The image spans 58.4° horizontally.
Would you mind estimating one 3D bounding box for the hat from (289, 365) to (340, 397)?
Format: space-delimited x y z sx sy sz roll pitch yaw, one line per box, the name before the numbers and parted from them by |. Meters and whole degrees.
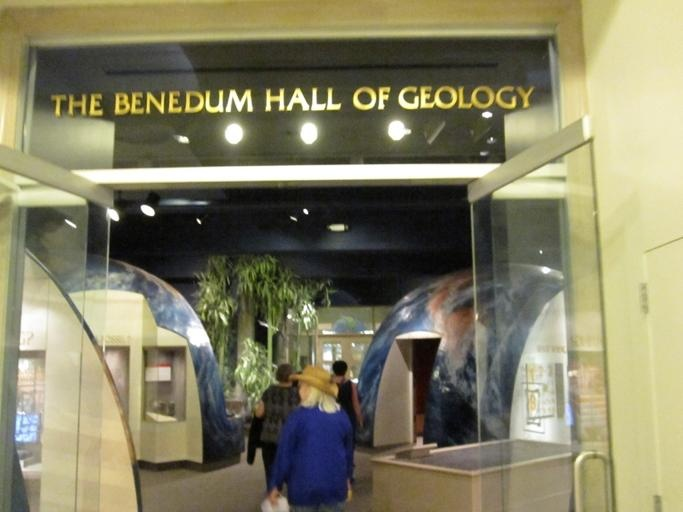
hat | -0.202 0.782 4.106 0.244 0.111 0.237 7 -18 39
